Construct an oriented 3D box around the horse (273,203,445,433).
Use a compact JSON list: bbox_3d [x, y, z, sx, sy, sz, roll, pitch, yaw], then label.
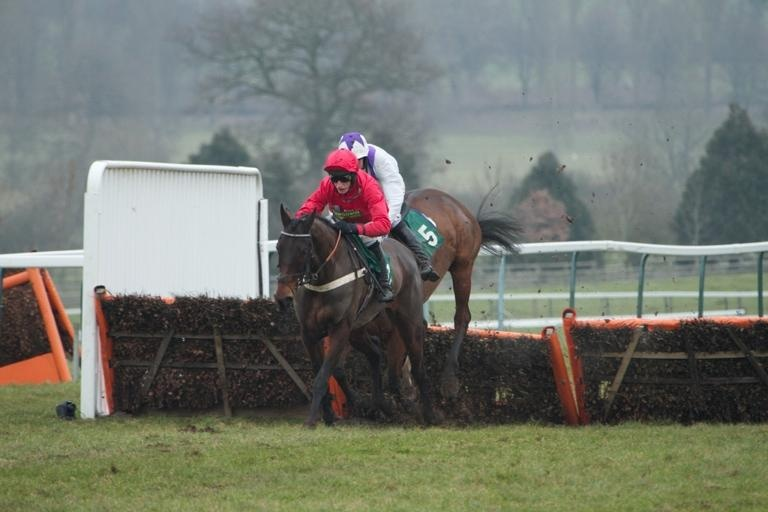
[{"bbox_3d":[-0.557,1.212,27.291,1.374,3.673,5.138,1,-2,27],"label":"horse"}]
